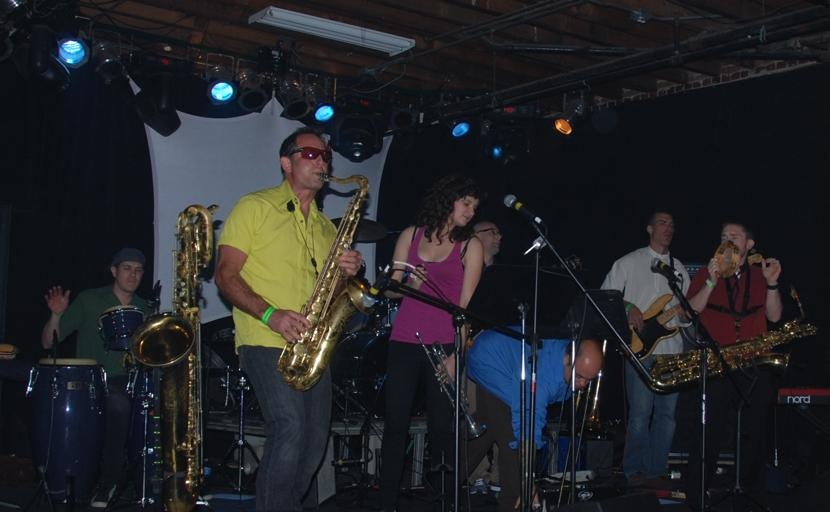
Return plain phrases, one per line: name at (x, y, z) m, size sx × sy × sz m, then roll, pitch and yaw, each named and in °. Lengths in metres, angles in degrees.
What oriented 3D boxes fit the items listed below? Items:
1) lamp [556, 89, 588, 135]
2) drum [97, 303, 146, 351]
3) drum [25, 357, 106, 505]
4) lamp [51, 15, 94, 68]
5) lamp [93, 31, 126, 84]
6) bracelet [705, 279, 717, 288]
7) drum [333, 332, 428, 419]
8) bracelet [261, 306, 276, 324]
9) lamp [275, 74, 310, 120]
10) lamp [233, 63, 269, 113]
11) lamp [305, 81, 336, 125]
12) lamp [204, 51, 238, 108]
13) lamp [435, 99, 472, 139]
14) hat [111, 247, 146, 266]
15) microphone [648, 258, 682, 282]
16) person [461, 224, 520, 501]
lamp at (2.551, -2.370, 15.139) m, size 0.474 × 0.764 × 0.224 m, roll 8°, pitch 13°, yaw 14°
drum at (-3.679, 0.883, 11.835) m, size 0.677 × 0.882 × 0.495 m, roll 2°, pitch -3°, yaw -2°
drum at (-4.390, 2.198, 11.951) m, size 0.834 × 1.929 × 0.785 m, roll -2°, pitch -5°, yaw 0°
lamp at (-4.683, -3.014, 12.990) m, size 0.595 × 0.583 × 0.624 m, roll -10°, pitch -8°, yaw -22°
lamp at (-4.354, -2.824, 13.487) m, size 0.477 × 0.651 × 0.155 m, roll -4°, pitch 11°, yaw -12°
bracelet at (3.937, 0.345, 12.591) m, size 0.134 × 0.119 × 0.184 m, roll 0°, pitch -8°, yaw 17°
drum at (-0.450, 1.686, 13.654) m, size 1.486 × 1.488 × 1.069 m, roll -4°, pitch 4°, yaw -43°
bracelet at (-1.550, 0.613, 10.006) m, size 0.044 × 0.155 × 0.162 m, roll 24°, pitch 14°, yaw 8°
lamp at (-1.842, -2.497, 14.447) m, size 0.500 × 0.602 × 0.473 m, roll 3°, pitch -7°, yaw -7°
lamp at (-2.432, -2.543, 14.133) m, size 0.454 × 0.620 × 0.199 m, roll 0°, pitch 27°, yaw -17°
lamp at (-1.404, -2.410, 14.647) m, size 0.474 × 0.633 × 0.146 m, roll 2°, pitch 7°, yaw -23°
lamp at (-2.888, -2.691, 14.192) m, size 0.454 × 0.841 × 0.659 m, roll 4°, pitch -7°, yaw -14°
lamp at (0.633, -2.226, 14.892) m, size 0.477 × 0.487 × 0.158 m, roll -2°, pitch 20°, yaw 1°
hat at (-3.876, -0.023, 12.808) m, size 0.353 × 0.176 × 0.265 m, roll -1°, pitch -9°, yaw 3°
microphone at (3.172, 0.171, 12.053) m, size 0.518 × 0.137 × 0.187 m, roll 17°, pitch 7°, yaw -30°
person at (0.685, 0.998, 12.073) m, size 0.792 × 3.298 × 0.694 m, roll -10°, pitch 9°, yaw -38°
